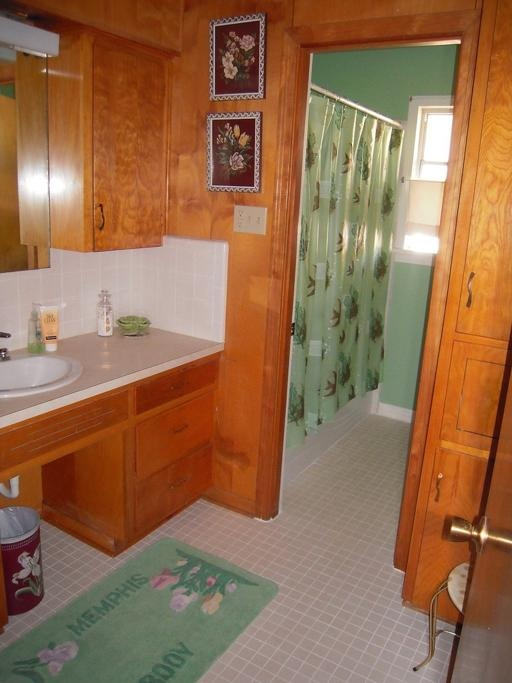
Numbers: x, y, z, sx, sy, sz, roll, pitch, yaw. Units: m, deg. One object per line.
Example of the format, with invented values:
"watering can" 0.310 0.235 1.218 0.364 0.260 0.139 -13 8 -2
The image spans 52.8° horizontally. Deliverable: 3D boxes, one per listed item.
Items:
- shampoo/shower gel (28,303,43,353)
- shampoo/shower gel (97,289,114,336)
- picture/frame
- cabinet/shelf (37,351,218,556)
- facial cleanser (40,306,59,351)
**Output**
"shampoo/shower gel" -0.893 -0.038 2.082 0.055 0.162 0.068 -4 15 -34
"shampoo/shower gel" -0.724 -0.140 2.472 0.070 0.206 0.191 0 13 -18
"picture/frame" -0.085 -0.975 2.153 0.274 0.664 0.058 11 14 32
"cabinet/shelf" -0.524 0.415 2.728 0.768 1.240 0.829 10 19 28
"facial cleanser" -0.858 -0.044 2.134 0.076 0.167 0.060 -4 14 -32
